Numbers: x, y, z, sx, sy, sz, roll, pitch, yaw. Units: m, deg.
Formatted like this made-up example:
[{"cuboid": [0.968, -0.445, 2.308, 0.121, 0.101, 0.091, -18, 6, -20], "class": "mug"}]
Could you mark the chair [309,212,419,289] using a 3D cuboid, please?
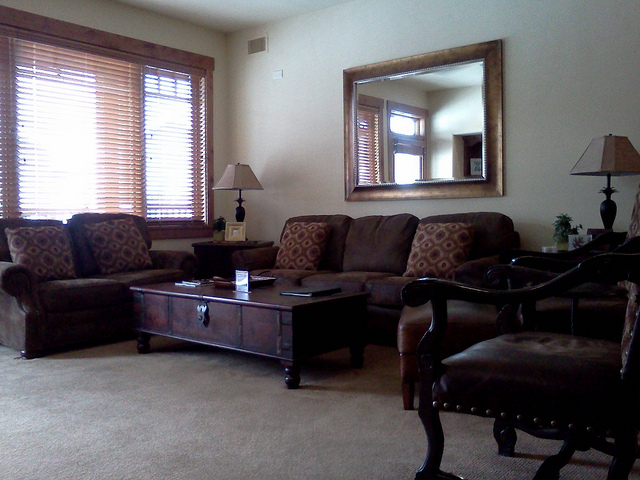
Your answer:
[{"cuboid": [0.443, 0.076, 4.688, 0.727, 0.501, 0.734, 2, 10, 43], "class": "chair"}]

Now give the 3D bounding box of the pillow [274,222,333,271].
[{"cuboid": [-0.147, 0.050, 4.951, 0.495, 0.459, 0.137, 2, -22, 38], "class": "pillow"}]

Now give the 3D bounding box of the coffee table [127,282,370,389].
[{"cuboid": [-0.547, 0.625, 3.694, 1.621, 0.530, 0.614, 2, 7, 21], "class": "coffee table"}]

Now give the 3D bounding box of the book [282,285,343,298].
[{"cuboid": [-0.075, 0.352, 3.685, 0.308, 0.036, 0.295, 5, 8, 39], "class": "book"}]

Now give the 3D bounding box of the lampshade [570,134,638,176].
[{"cuboid": [2.056, -0.592, 3.756, 0.329, 0.196, 0.338, 0, 4, 18], "class": "lampshade"}]

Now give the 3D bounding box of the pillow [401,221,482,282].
[{"cuboid": [0.973, 0.081, 4.309, 0.528, 0.423, 0.388, 2, 7, 24], "class": "pillow"}]

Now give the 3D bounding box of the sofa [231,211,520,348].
[{"cuboid": [0.366, 0.360, 4.784, 2.762, 1.159, 0.910, 0, 0, 43], "class": "sofa"}]

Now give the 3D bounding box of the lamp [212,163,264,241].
[{"cuboid": [-0.882, -0.405, 5.805, 0.538, 0.822, 0.568, 0, -1, -24], "class": "lamp"}]

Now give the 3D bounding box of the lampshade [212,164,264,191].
[{"cuboid": [-0.880, -0.659, 5.648, 0.348, 0.180, 0.362, -1, 2, -19], "class": "lampshade"}]

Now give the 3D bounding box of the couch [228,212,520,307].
[{"cuboid": [0.394, 0.290, 4.787, 0.903, 1.051, 2.767, -5, 4, -45], "class": "couch"}]

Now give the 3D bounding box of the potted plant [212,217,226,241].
[{"cuboid": [-1.113, -0.124, 5.856, 0.147, 0.248, 0.133, -7, 9, -43], "class": "potted plant"}]
